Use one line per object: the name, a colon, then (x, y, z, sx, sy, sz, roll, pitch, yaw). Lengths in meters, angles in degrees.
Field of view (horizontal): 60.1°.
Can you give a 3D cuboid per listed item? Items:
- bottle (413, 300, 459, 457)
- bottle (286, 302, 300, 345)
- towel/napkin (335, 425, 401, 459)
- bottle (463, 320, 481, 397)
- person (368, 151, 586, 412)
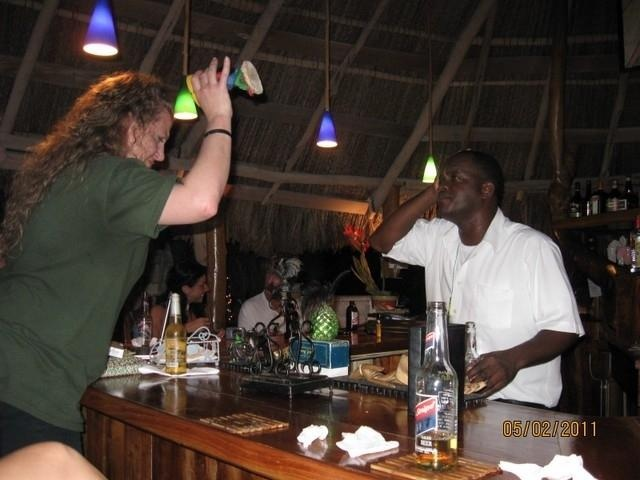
bottle: (0.331, 0.404, 1.570, 0.112, 0.444, 0.187, 2, -9, 11)
bottle: (-0.122, 0.352, 2.393, 0.068, 0.182, 0.189, 4, -10, -3)
towel/napkin: (0.144, 0.605, 1.662, 0.183, 0.074, 0.164, 2, -11, 9)
bottle: (0.631, 0.480, 2.256, 0.074, 0.286, 0.298, 1, -10, 16)
person: (0.872, 0.157, 2.943, 0.610, 1.356, 1.185, 6, -10, -14)
